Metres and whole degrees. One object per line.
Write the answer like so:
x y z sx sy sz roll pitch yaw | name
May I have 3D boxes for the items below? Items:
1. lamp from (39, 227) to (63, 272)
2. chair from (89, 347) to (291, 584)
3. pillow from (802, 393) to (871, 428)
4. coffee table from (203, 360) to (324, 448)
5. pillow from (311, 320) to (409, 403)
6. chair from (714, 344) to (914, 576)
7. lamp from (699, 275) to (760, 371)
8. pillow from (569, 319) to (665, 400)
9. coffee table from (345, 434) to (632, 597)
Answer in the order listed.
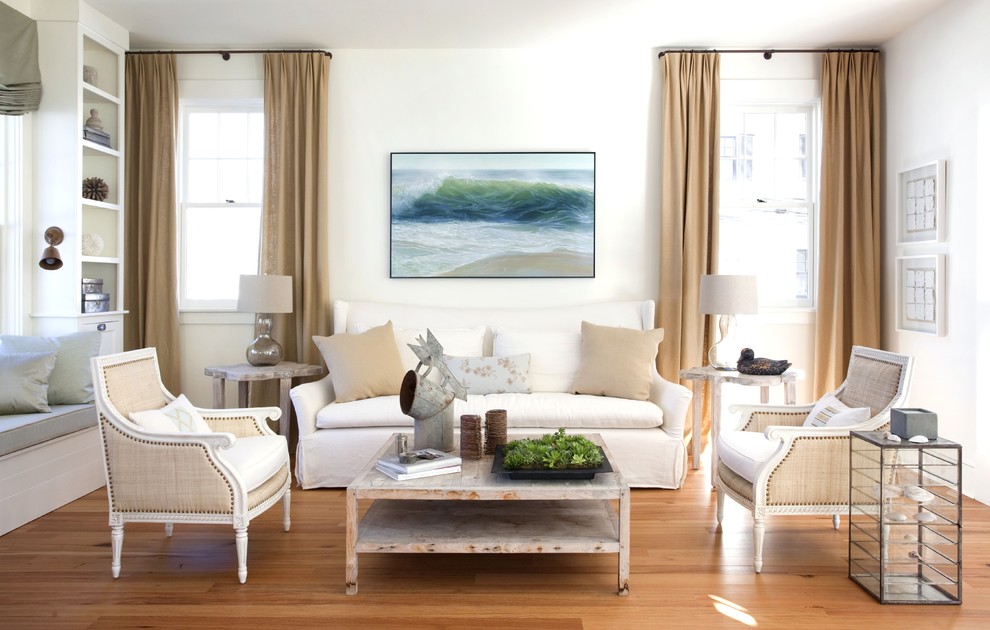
-3.567 -0.527 6.315 0.208 0.362 0.264 -4 8 -22 | lamp
-2.008 0.913 5.410 1.351 1.275 1.321 5 6 35 | chair
2.332 0.678 5.315 0.186 0.164 0.420 -15 1 -6 | pillow
-1.958 0.638 6.602 0.820 0.769 0.792 -1 5 -15 | coffee table
-1.082 0.381 6.329 0.632 0.575 0.186 -13 -15 -36 | pillow
2.202 0.940 5.517 1.233 1.299 1.125 -2 5 -13 | chair
1.911 0.104 6.446 0.734 0.758 0.718 1 13 14 | lamp
1.036 0.391 6.354 0.657 0.596 0.195 7 -17 15 | pillow
-0.036 1.302 4.985 1.189 0.413 1.084 1 1 3 | coffee table
